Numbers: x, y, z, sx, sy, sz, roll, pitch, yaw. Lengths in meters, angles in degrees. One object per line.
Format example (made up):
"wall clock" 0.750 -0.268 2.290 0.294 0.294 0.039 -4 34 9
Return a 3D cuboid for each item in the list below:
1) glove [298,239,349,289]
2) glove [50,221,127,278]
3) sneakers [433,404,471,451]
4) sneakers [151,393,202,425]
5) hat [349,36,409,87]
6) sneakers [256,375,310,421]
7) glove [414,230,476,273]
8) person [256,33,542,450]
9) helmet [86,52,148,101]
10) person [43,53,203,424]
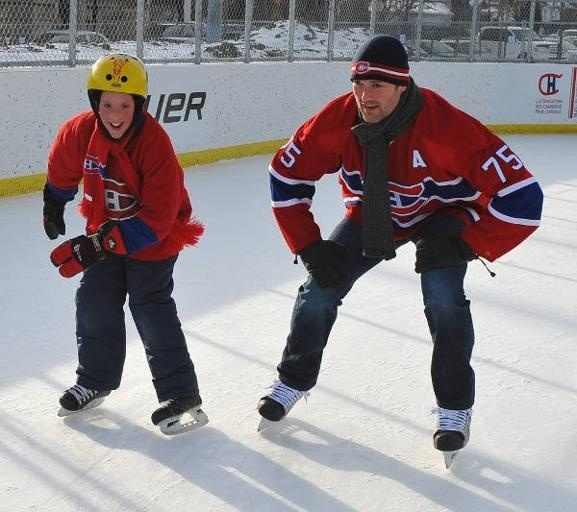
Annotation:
"glove" 0.136 0.024 2.382 0.124 0.159 0.084 -34 0 8
"glove" -0.698 -0.022 2.354 0.296 0.161 0.079 -21 1 22
"sneakers" 0.578 0.618 2.318 0.125 0.175 0.206 4 11 15
"sneakers" -0.410 0.554 2.413 0.215 0.090 0.069 -9 -19 -32
"hat" 0.328 -0.673 2.268 0.203 0.147 0.198 10 13 7
"sneakers" -0.034 0.545 2.522 0.105 0.084 0.217 34 7 6
"glove" 0.526 -0.010 2.251 0.186 0.117 0.129 -16 -14 -10
"person" 0.386 -0.044 2.365 0.959 1.451 0.414 5 12 19
"helmet" -0.600 -0.626 2.332 0.203 0.214 0.235 8 22 -7
"person" -0.616 -0.050 2.438 0.664 1.354 0.394 2 11 5
